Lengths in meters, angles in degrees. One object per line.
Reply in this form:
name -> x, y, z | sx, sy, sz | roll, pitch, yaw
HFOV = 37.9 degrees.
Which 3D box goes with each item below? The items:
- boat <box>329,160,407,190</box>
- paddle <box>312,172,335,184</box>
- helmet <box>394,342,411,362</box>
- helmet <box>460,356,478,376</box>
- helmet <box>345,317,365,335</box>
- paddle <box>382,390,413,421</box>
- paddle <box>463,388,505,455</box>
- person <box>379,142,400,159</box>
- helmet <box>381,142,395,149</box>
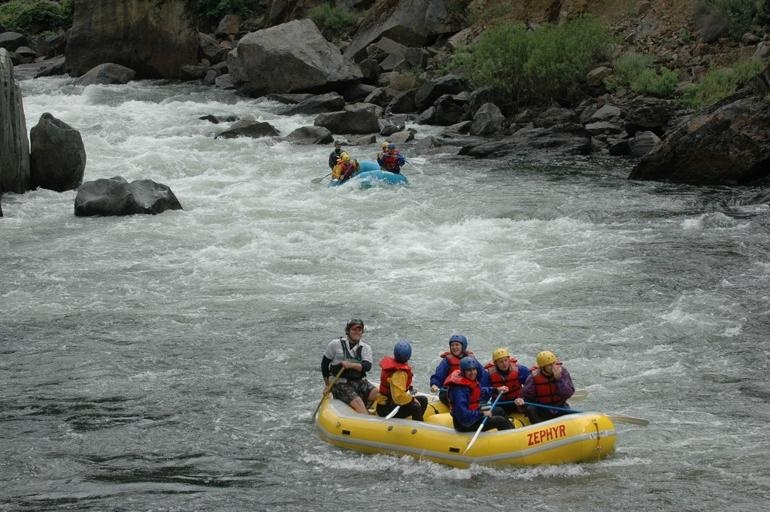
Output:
boat -> -0.468, -2.812, 39.434 | 1.946, 0.509, 1.369 | -6, 15, -31
paddle -> -2.292, -2.776, 40.437 | 0.657, 0.137, 0.570 | 1, -9, -25
helmet -> 0.375, 2.271, 26.828 | 0.473, 0.456, 0.496 | 7, 27, 0
helmet -> 1.948, 2.574, 26.498 | 0.440, 0.420, 0.411 | 7, 10, 2
helmet -> -0.778, 1.720, 27.375 | 0.407, 0.364, 0.304 | 8, 21, -8
paddle -> 0.281, 3.568, 26.770 | 1.137, 0.150, 0.364 | -32, 56, -22
paddle -> 2.275, 3.960, 26.387 | 0.339, 0.117, 2.183 | 18, 51, 40
person -> 0.110, -3.783, 40.489 | 0.745, 0.352, 0.721 | -4, 58, 11
helmet -> 0.018, -3.975, 40.448 | 0.429, 0.148, 0.493 | -1, 3, -3
